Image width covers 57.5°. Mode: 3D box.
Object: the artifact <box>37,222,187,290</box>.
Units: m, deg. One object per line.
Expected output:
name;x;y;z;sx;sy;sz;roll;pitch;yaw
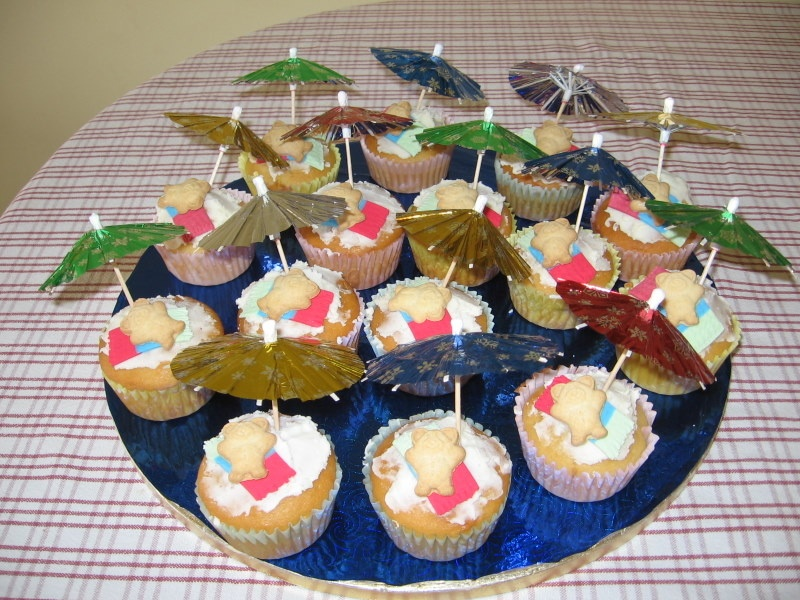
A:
artifact;-1.580;-0.284;3.976;0.505;0.494;0.134;-34;102;-28

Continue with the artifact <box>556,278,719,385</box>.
artifact;1.188;0.139;3.639;0.241;0.599;0.574;-56;35;13

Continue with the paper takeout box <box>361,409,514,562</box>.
paper takeout box;0.160;0.910;3.715;0.774;0.486;0.676;10;53;8
